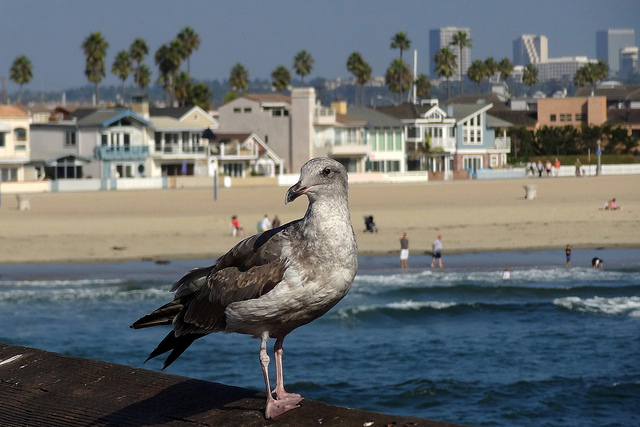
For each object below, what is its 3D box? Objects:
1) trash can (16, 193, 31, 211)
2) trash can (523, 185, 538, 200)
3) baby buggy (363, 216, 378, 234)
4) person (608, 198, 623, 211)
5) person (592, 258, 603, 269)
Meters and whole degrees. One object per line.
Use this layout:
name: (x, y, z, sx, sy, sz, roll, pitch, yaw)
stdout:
trash can: (-25.984, -1.017, 133.999, 1.110, 1.433, 1.297, 0, -1, -14)
trash can: (19.502, -1.945, 141.390, 1.192, 1.393, 1.252, 2, 0, 8)
baby buggy: (4.285, 0.883, 128.009, 1.208, 1.416, 2.052, -2, 2, 2)
person: (25.769, -0.787, 133.764, 0.977, 0.912, 0.999, -3, 4, -27)
person: (21.421, 3.740, 117.448, 0.552, 0.346, 0.826, 3, -40, 5)
